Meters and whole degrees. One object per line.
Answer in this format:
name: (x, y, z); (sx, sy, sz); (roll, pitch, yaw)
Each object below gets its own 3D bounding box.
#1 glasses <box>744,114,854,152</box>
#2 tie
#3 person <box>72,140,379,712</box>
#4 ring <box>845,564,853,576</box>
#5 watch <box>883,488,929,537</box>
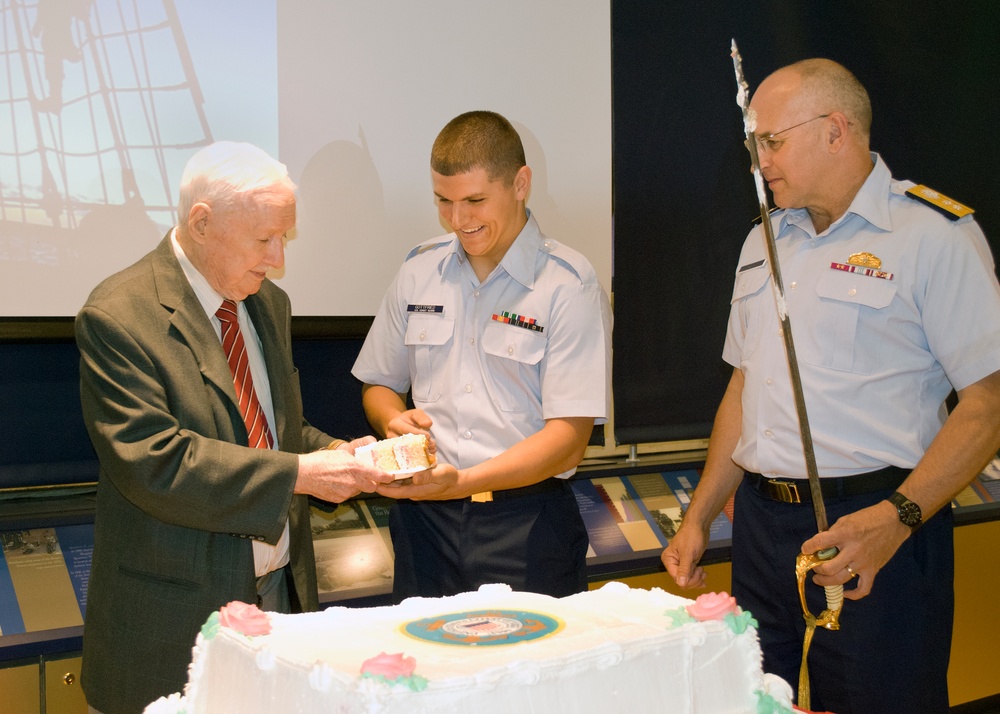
glasses: (0.867, -0.642, 2.182); (0.174, 0.060, 0.178); (-8, 6, -8)
tie: (-0.744, -0.023, 2.219); (0.093, 0.575, 0.061); (-13, -13, -20)
person: (-0.791, 0.173, 2.084); (0.726, 1.518, 0.570); (-6, 8, -32)
ring: (0.905, 0.556, 1.979); (0.013, 0.021, 0.005); (-23, 1, 10)
watch: (1.080, 0.414, 2.031); (0.070, 0.112, 0.102); (-27, -1, -14)
